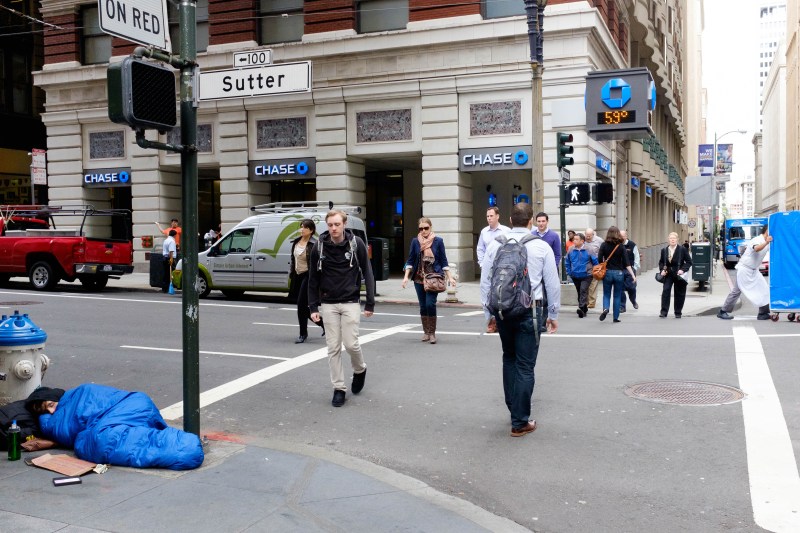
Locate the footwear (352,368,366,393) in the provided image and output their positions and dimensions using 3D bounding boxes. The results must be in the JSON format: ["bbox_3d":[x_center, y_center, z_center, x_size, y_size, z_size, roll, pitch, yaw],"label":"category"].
[{"bbox_3d":[-0.555,1.599,10.496,0.136,0.382,0.153,8,8,26],"label":"footwear"}]

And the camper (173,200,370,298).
[{"bbox_3d":[-3.572,-0.354,20.935,4.914,2.707,2.896,2,0,12],"label":"camper"}]

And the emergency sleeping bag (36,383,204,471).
[{"bbox_3d":[-2.920,1.707,8.001,1.469,0.458,0.832,6,10,24],"label":"emergency sleeping bag"}]

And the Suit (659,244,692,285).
[{"bbox_3d":[6.087,-0.014,16.842,0.667,0.859,0.584,3,18,34],"label":"Suit"}]

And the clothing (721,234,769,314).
[{"bbox_3d":[7.650,0.129,16.705,1.017,2.040,1.045,4,8,25],"label":"clothing"}]

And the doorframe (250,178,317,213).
[{"bbox_3d":[-4.566,-2.700,30.790,2.818,0.671,1.580,-1,-4,-1],"label":"doorframe"}]

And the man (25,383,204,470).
[{"bbox_3d":[-2.957,1.718,8.011,1.495,0.456,0.833,5,7,27],"label":"man"}]

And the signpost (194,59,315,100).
[{"bbox_3d":[-1.901,-2.299,9.531,1.464,0.441,0.071,2,31,22],"label":"signpost"}]

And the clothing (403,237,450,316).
[{"bbox_3d":[0.497,0.199,13.905,0.731,1.473,0.795,0,8,0],"label":"clothing"}]

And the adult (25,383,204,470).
[{"bbox_3d":[-2.910,1.727,8.007,1.495,0.456,0.833,5,7,27],"label":"adult"}]

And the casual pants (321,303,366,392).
[{"bbox_3d":[-0.758,1.106,10.362,0.597,1.282,0.862,-1,8,-6],"label":"casual pants"}]

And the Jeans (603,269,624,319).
[{"bbox_3d":[4.749,0.600,16.880,0.437,1.073,1.220,3,8,16],"label":"Jeans"}]

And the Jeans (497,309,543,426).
[{"bbox_3d":[1.446,1.182,9.030,0.426,1.435,0.455,-5,10,-36],"label":"Jeans"}]

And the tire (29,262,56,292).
[{"bbox_3d":[-10.276,0.275,21.944,0.686,0.703,0.268,14,9,28],"label":"tire"}]

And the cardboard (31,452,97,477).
[{"bbox_3d":[-3.434,2.024,7.775,0.711,0.074,0.304,5,9,28],"label":"cardboard"}]

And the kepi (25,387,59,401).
[{"bbox_3d":[-4.015,1.453,8.640,0.235,0.124,0.181,-1,2,-22],"label":"kepi"}]

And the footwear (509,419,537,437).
[{"bbox_3d":[1.477,1.927,9.042,0.356,0.143,0.125,-8,9,-44],"label":"footwear"}]
